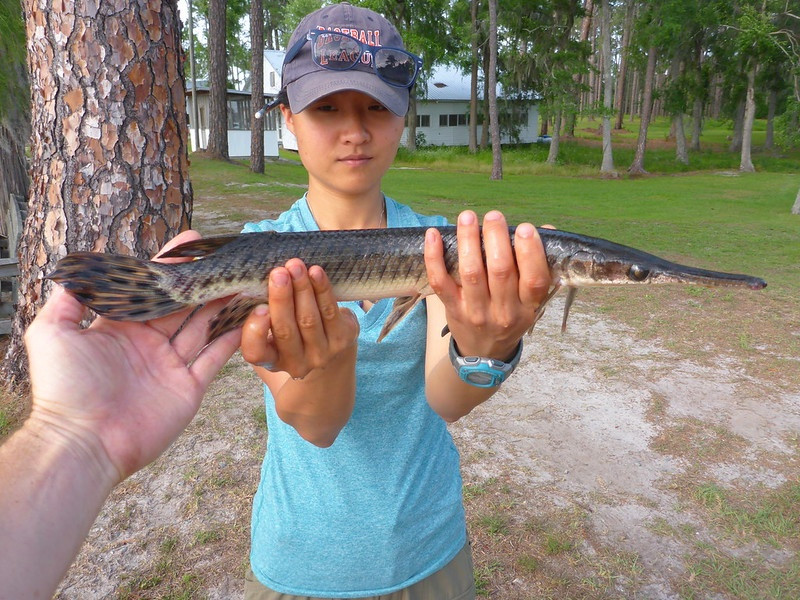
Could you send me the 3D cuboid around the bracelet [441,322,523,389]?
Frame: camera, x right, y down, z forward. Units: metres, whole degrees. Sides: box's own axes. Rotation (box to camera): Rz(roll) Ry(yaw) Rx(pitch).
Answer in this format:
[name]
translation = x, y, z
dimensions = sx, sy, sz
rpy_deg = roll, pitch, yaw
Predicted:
[bracelet]
translation = 0.489, 0.407, 3.352
dimensions = 0.331, 0.189, 0.443
rpy_deg = 3, 28, 2
